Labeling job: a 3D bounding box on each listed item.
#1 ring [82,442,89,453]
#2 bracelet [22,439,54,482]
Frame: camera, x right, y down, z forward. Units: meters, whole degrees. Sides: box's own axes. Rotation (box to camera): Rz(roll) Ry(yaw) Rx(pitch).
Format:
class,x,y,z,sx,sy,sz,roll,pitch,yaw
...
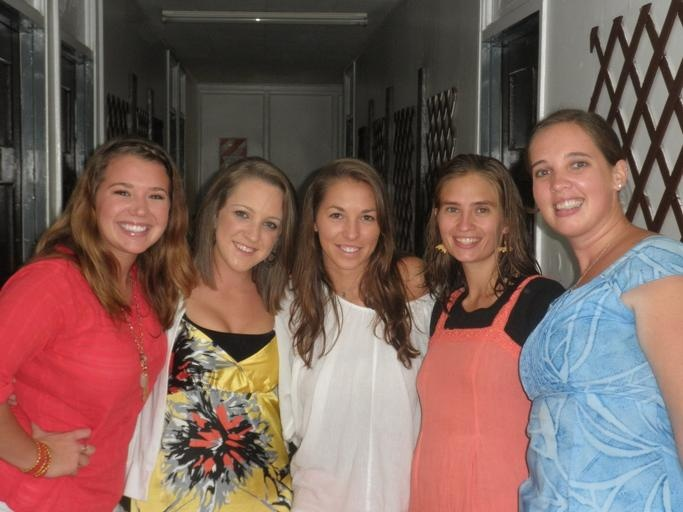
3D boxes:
class,x,y,z,sx,sy,sz,roll,pitch,yaw
ring,-0.960,0.719,2.249,0.007,0.026,0.025,-7,-3,32
bracelet,-1.083,0.744,2.168,0.090,0.117,0.041,-8,-12,-18
